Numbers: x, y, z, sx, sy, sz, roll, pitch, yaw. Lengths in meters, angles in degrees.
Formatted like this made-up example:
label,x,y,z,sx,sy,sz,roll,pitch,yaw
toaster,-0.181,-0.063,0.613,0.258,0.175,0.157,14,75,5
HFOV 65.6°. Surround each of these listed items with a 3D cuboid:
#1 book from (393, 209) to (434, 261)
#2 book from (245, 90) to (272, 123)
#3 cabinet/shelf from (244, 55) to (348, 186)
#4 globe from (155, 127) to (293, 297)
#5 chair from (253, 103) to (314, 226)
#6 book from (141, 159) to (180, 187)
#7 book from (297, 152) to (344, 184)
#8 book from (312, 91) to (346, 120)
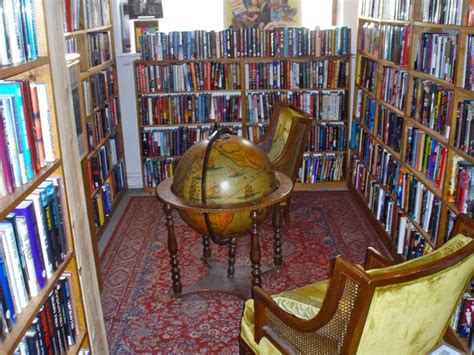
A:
label,x,y,z,sx,sy,sz,roll,pitch,yaw
book,1.735,0.554,3.597,0.183,0.435,0.464,-6,32,-3
book,0.315,-1.115,5.866,0.404,0.532,0.548,-7,14,-24
cabinet/shelf,0.803,-0.930,5.141,1.816,2.015,0.640,-2,22,2
globe,-0.085,0.420,3.636,1.319,1.645,1.295,6,28,14
chair,0.331,-0.145,4.832,1.065,1.398,1.074,-1,18,-4
book,-1.238,-0.114,6.096,0.434,0.562,0.585,2,22,-1
book,1.339,-0.156,5.789,0.802,0.448,0.382,0,1,-7
book,1.416,-1.132,5.906,0.558,0.529,0.406,-2,17,0
